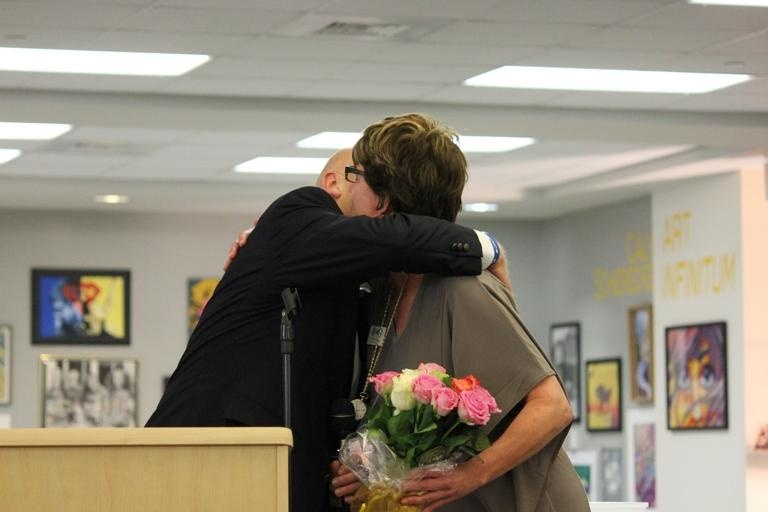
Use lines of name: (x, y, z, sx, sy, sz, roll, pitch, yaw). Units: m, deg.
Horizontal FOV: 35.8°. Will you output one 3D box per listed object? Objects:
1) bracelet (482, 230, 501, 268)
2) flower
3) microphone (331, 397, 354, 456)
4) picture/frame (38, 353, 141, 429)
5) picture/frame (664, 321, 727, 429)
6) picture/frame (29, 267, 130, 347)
bracelet: (0.490, -0.025, 5.484, 0.106, 0.157, 0.061, -1, 3, -31)
flower: (0.261, 0.731, 5.212, 0.449, 0.460, 0.543, -7, 13, -30)
microphone: (-0.187, 0.783, 5.353, 0.111, 0.260, 0.136, 4, -3, 3)
picture/frame: (-2.830, 1.306, 11.251, 0.676, 0.621, 0.092, 9, -17, -38)
picture/frame: (2.473, 0.973, 9.490, 0.261, 0.903, 0.587, 7, -4, -38)
picture/frame: (-3.000, 0.517, 11.552, 0.685, 0.567, 0.073, 2, -8, -29)
